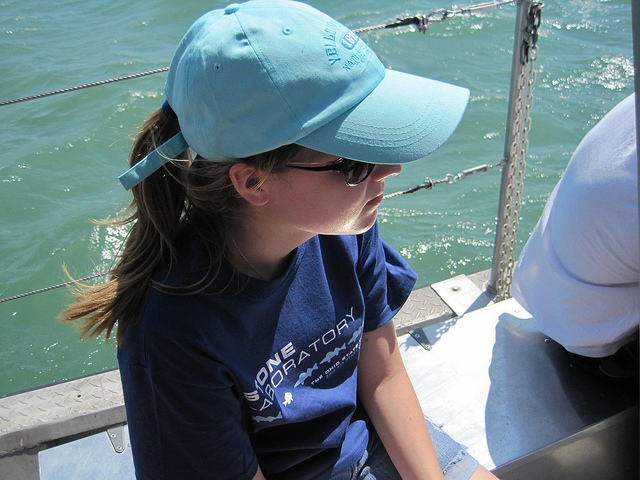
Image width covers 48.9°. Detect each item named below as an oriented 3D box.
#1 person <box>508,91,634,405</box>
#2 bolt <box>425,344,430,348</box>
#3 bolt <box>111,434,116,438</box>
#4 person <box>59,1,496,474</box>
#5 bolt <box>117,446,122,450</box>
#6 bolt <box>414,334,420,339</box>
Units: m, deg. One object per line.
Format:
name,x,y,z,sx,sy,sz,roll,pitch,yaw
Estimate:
person,1.287,0.039,3.323,0.349,1.324,0.750,-15,31,-19
bolt,0.558,0.553,3.678,0.023,0.006,0.019,-2,30,4
bolt,-1.000,0.947,3.400,0.024,0.006,0.015,-1,30,7
person,-0.171,0.103,2.675,1.379,1.839,0.736,-10,30,-11
bolt,-0.959,0.993,3.363,0.022,0.005,0.015,-3,30,3
bolt,0.511,0.509,3.729,0.026,0.006,0.027,1,30,9
